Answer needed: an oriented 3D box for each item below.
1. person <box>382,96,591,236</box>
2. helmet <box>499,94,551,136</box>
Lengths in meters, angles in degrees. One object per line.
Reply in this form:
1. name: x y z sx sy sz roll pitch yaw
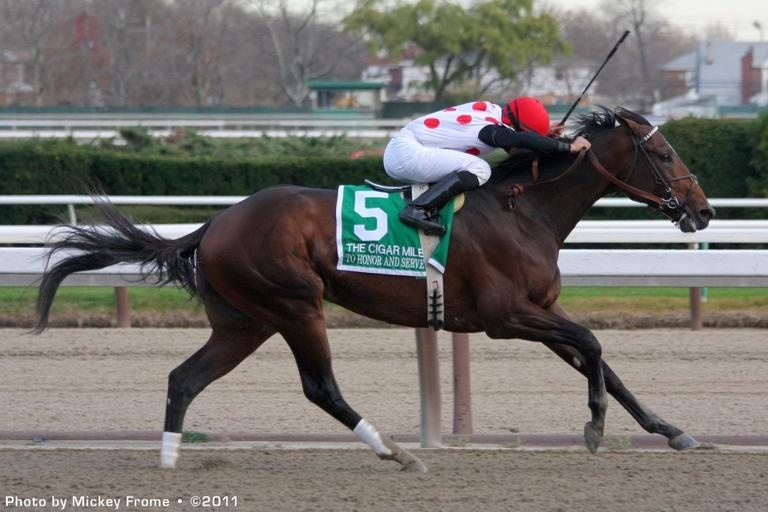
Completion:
1. person: 0.765 -0.717 12.202 1.549 0.786 0.795 -4 12 -8
2. helmet: 1.028 -1.019 12.091 0.423 0.270 0.276 1 -4 10
